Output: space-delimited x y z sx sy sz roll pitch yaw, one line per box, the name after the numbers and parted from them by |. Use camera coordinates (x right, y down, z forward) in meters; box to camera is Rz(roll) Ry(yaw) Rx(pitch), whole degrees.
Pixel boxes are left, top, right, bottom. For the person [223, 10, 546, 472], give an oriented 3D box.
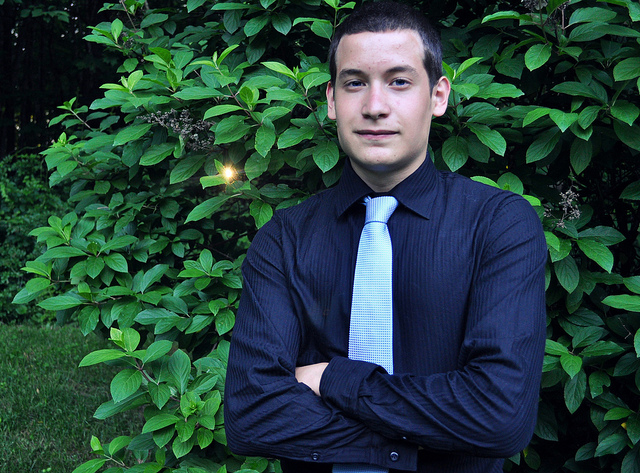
0.271 -0.017 2.262 1.273 1.826 0.616 4 10 10 | person

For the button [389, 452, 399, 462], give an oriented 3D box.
0.281 0.837 2.107 0.038 0.032 0.012 -1 -8 14 | button

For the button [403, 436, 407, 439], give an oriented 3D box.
0.320 0.760 2.097 0.014 0.009 0.005 4 10 14 | button

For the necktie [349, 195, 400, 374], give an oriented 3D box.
0.223 0.187 2.292 0.173 0.679 0.272 3 10 5 | necktie

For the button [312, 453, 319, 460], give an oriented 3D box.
-0.018 0.853 2.153 0.025 0.025 0.005 2 10 1 | button
